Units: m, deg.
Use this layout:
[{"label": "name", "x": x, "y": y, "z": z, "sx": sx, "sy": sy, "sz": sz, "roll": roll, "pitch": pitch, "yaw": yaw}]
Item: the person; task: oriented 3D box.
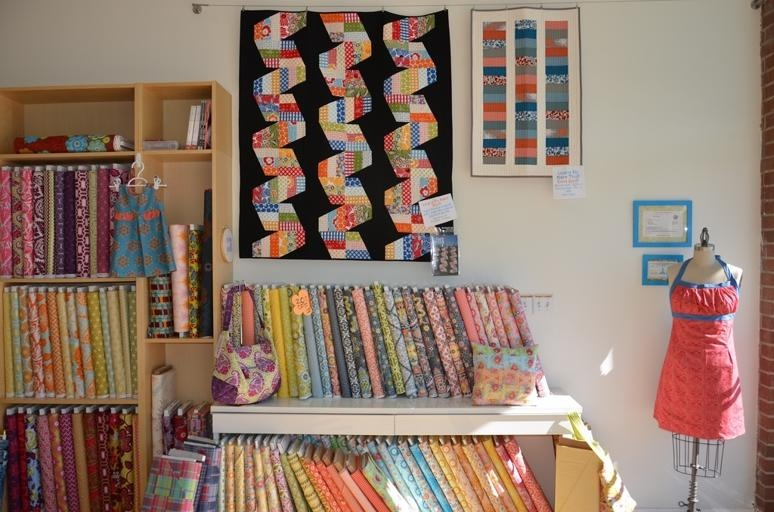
[{"label": "person", "x": 2.080, "y": 0.556, "z": 4.473, "sx": 0.540, "sy": 1.250, "sz": 0.272, "roll": 0, "pitch": 5, "yaw": 25}]

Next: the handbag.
[{"label": "handbag", "x": -0.955, "y": 0.580, "z": 4.492, "sx": 0.434, "sy": 0.775, "sz": 0.240, "roll": -3, "pitch": 5, "yaw": -14}]
